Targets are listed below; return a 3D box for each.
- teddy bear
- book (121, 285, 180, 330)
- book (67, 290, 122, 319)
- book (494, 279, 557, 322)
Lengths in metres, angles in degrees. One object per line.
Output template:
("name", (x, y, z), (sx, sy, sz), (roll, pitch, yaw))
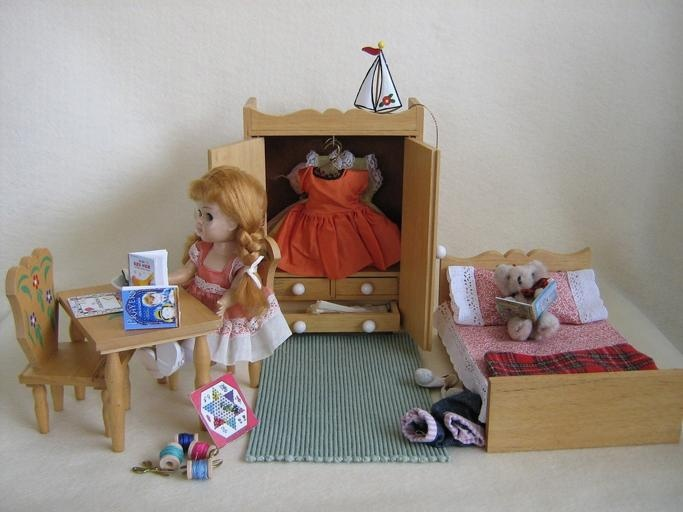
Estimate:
("teddy bear", (1.298, 0.316, 3.800), (0.340, 0.536, 0.361), (-9, -1, 5))
("book", (-1.038, 0.281, 2.952), (0.219, 0.198, 0.047), (-1, 19, -3))
("book", (-1.447, 0.284, 3.196), (0.281, 0.073, 0.292), (-15, 20, -28))
("book", (1.253, 0.294, 3.752), (0.277, 0.171, 0.277), (-37, 34, -29))
